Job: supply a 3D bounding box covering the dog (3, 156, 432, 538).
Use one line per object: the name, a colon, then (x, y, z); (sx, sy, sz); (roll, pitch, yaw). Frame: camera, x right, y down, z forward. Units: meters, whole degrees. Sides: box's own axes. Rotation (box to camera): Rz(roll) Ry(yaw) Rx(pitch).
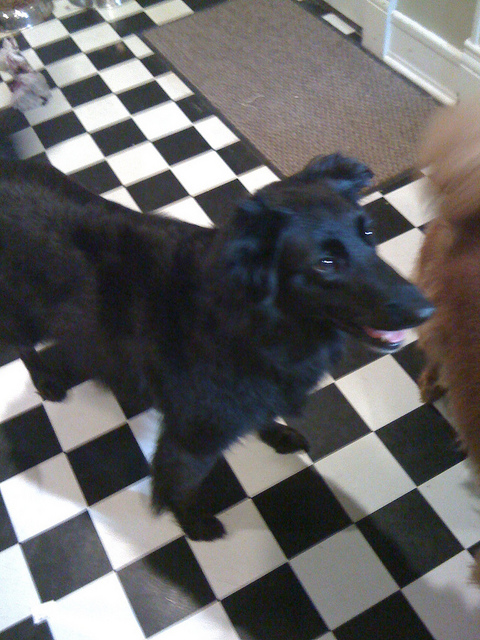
dog: (-0.118, 0.057, 1.269); (0.810, 0.751, 0.299); (14, 45, 13)
